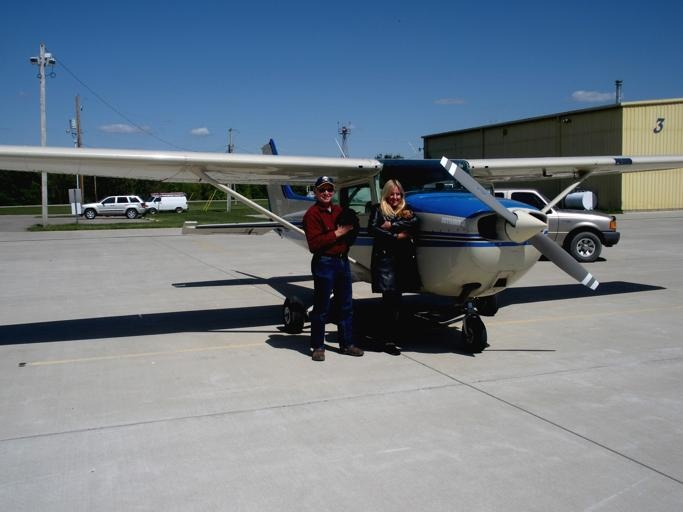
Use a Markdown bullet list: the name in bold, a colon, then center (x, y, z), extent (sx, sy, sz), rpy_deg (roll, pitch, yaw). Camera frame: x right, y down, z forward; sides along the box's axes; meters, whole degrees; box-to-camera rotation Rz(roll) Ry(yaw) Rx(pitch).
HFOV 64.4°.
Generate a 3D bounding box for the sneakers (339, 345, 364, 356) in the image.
- **sneakers**: center (0.119, 1.106, 6.344), extent (0.248, 0.081, 0.120), rpy_deg (-3, -1, 25)

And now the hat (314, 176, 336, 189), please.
- **hat**: center (-0.180, -0.885, 6.437), extent (0.264, 0.143, 0.315), rpy_deg (1, -9, -9)

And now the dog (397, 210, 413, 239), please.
- **dog**: center (0.744, -0.359, 6.243), extent (0.123, 0.293, 0.247), rpy_deg (17, -10, -24)

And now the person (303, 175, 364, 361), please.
- **person**: center (-0.094, 0.131, 6.283), extent (0.633, 2.068, 0.674), rpy_deg (-3, 11, -4)

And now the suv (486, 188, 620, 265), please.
- **suv**: center (5.809, -0.803, 14.038), extent (4.148, 1.353, 2.078), rpy_deg (-2, 6, -2)

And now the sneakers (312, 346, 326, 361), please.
- **sneakers**: center (-0.263, 1.114, 6.195), extent (0.175, 0.108, 0.302), rpy_deg (0, -6, -9)

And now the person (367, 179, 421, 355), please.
- **person**: center (0.611, 0.122, 6.401), extent (0.524, 2.016, 0.598), rpy_deg (2, 11, 20)

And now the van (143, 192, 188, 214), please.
- **van**: center (-14.383, -4.390, 44.868), extent (3.283, 1.236, 1.823), rpy_deg (0, 5, -15)
